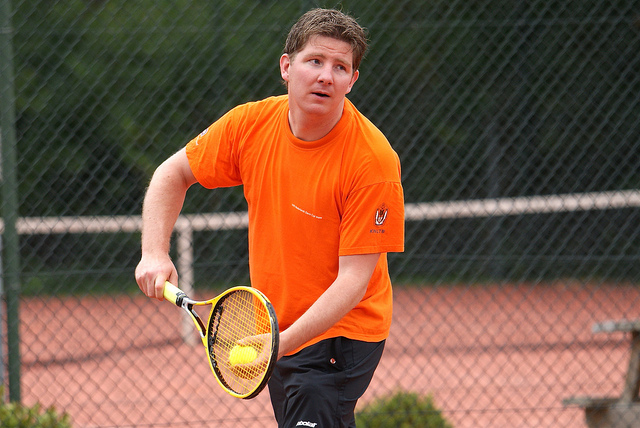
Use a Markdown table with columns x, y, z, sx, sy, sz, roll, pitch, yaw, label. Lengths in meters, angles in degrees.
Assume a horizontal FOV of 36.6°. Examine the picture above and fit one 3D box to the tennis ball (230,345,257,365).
| x | y | z | sx | sy | sz | roll | pitch | yaw | label |
| --- | --- | --- | --- | --- | --- | --- | --- | --- | --- |
| -0.539 | 0.979 | 6.763 | 0.210 | 0.133 | 0.047 | -1 | 0 | 31 | tennis ball |
